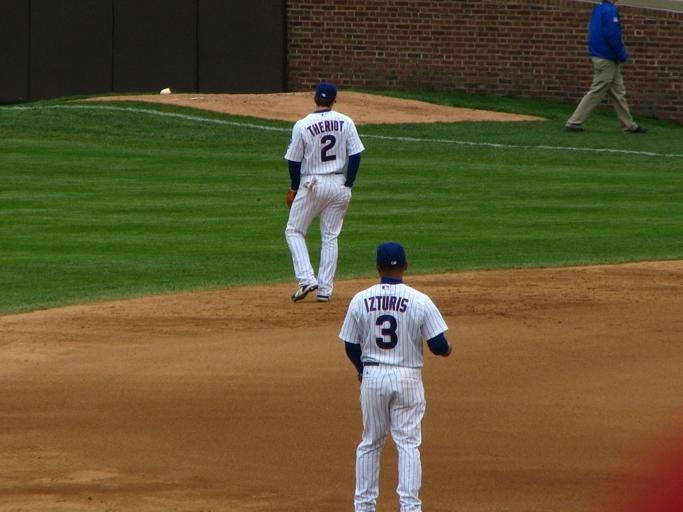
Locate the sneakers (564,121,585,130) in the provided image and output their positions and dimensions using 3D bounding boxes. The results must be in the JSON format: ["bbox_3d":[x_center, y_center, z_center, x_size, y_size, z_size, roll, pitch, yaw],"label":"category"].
[{"bbox_3d":[4.721,-2.617,35.596,0.383,0.182,0.134,10,-4,-12],"label":"sneakers"}]

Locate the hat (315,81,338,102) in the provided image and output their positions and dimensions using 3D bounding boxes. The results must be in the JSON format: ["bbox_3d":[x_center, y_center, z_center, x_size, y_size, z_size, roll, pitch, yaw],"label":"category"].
[{"bbox_3d":[-0.231,-2.546,27.455,0.305,0.253,0.372,2,8,-3],"label":"hat"}]

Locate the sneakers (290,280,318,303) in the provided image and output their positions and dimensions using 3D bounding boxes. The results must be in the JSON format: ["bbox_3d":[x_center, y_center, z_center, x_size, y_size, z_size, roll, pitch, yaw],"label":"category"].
[{"bbox_3d":[-0.595,0.523,27.757,0.549,0.261,0.188,-37,-25,27],"label":"sneakers"}]
